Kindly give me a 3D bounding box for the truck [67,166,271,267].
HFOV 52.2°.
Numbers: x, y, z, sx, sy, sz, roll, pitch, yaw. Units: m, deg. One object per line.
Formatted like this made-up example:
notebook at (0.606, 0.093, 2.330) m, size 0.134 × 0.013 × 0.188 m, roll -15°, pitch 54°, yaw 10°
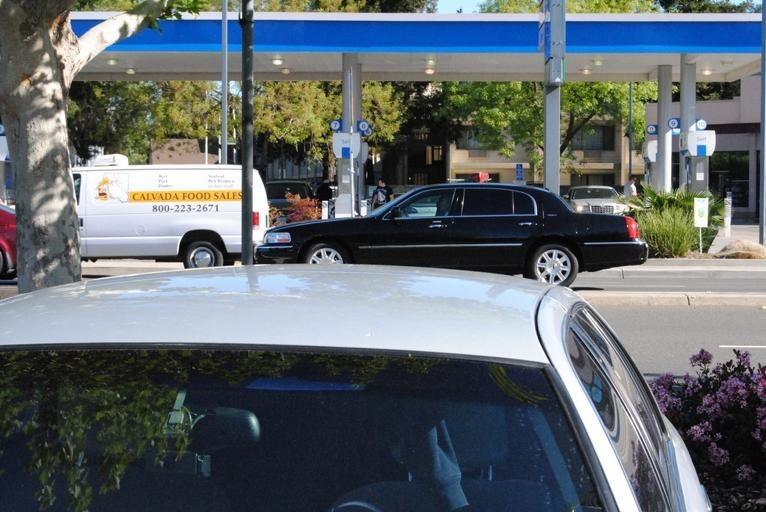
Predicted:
truck at (-4.334, -0.850, 16.227) m, size 3.806 × 1.897 × 2.073 m, roll 1°, pitch 1°, yaw -4°
